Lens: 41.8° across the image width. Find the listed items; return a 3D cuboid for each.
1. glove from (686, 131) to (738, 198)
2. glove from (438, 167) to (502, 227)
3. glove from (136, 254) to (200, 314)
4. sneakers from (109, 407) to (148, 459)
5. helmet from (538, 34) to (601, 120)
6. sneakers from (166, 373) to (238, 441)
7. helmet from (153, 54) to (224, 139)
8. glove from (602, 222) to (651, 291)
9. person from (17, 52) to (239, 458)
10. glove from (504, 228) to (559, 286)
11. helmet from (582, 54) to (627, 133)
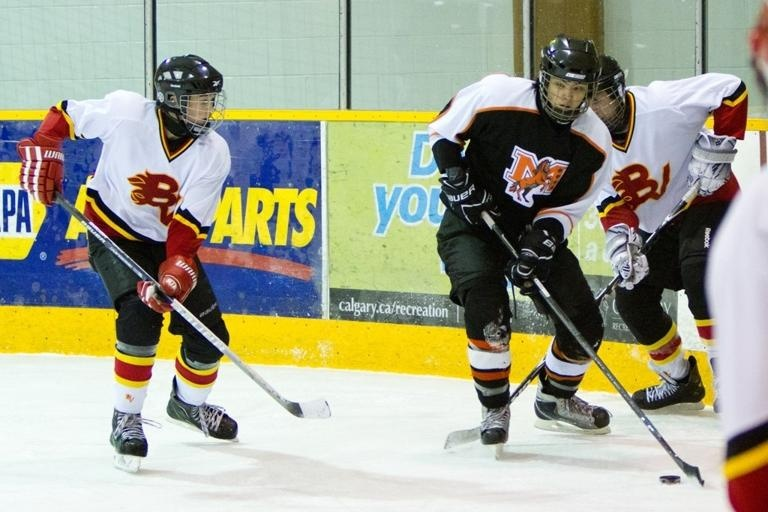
[{"bbox_3d":[1.634,-0.496,5.059,0.190,0.282,0.305,11,1,4],"label":"glove"},{"bbox_3d":[0.421,-0.284,4.890,0.215,0.302,0.127,-16,33,53],"label":"glove"},{"bbox_3d":[-1.002,0.119,4.803,0.224,0.295,0.139,47,18,19],"label":"glove"},{"bbox_3d":[-1.213,0.859,4.787,0.173,0.245,0.230,-4,13,-15],"label":"sneakers"},{"bbox_3d":[0.869,-0.876,4.801,0.292,0.366,0.390,14,27,2],"label":"helmet"},{"bbox_3d":[-0.903,0.809,5.178,0.451,0.241,0.214,18,39,7],"label":"sneakers"},{"bbox_3d":[-0.957,-0.799,4.968,0.372,0.342,0.276,7,11,20],"label":"helmet"},{"bbox_3d":[1.216,-0.014,5.100,0.153,0.245,0.301,-18,57,-25],"label":"glove"},{"bbox_3d":[-1.189,-0.002,4.931,0.903,1.909,0.723,-3,13,-9],"label":"person"},{"bbox_3d":[0.697,-0.018,4.797,0.121,0.276,0.235,30,23,-38],"label":"glove"},{"bbox_3d":[1.116,-0.784,4.926,0.255,0.305,0.323,-1,18,10],"label":"helmet"}]
